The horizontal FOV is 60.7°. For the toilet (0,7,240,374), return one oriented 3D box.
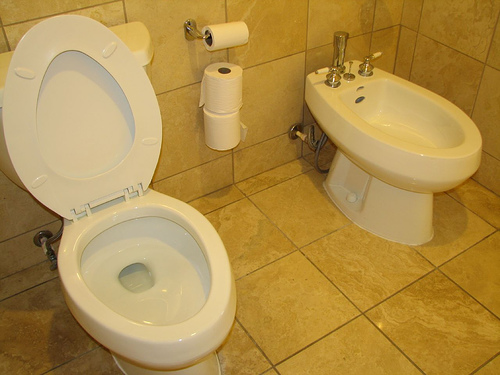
[{"bbox_3d":[-0.380,0.028,1.211,0.475,0.745,0.801,-24,53,-17],"label":"toilet"}]

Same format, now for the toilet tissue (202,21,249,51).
[{"bbox_3d":[-0.075,-0.555,1.556,0.150,0.090,0.112,-16,75,-21],"label":"toilet tissue"}]

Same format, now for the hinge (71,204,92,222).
[{"bbox_3d":[-0.536,0.074,1.356,0.050,0.051,0.014,-23,54,-33],"label":"hinge"}]

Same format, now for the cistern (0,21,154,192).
[{"bbox_3d":[-0.517,-0.233,1.251,0.418,0.302,0.230,-31,71,-33],"label":"cistern"}]

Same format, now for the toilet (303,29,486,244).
[{"bbox_3d":[0.593,-0.216,1.796,0.487,0.796,0.756,-25,43,-23],"label":"toilet"}]

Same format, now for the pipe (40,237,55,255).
[{"bbox_3d":[-0.775,0.208,1.622,0.058,0.086,0.026,4,3,-18],"label":"pipe"}]

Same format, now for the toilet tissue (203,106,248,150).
[{"bbox_3d":[-0.090,-0.262,1.767,0.167,0.140,0.136,-14,44,-16],"label":"toilet tissue"}]

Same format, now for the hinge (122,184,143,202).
[{"bbox_3d":[-0.388,0.021,1.425,0.051,0.034,0.056,-26,78,-14],"label":"hinge"}]

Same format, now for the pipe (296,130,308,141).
[{"bbox_3d":[0.255,-0.254,2.083,0.025,0.037,0.091,31,15,4],"label":"pipe"}]

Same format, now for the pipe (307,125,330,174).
[{"bbox_3d":[0.342,-0.183,2.085,0.043,0.225,0.120,-10,17,-24],"label":"pipe"}]
